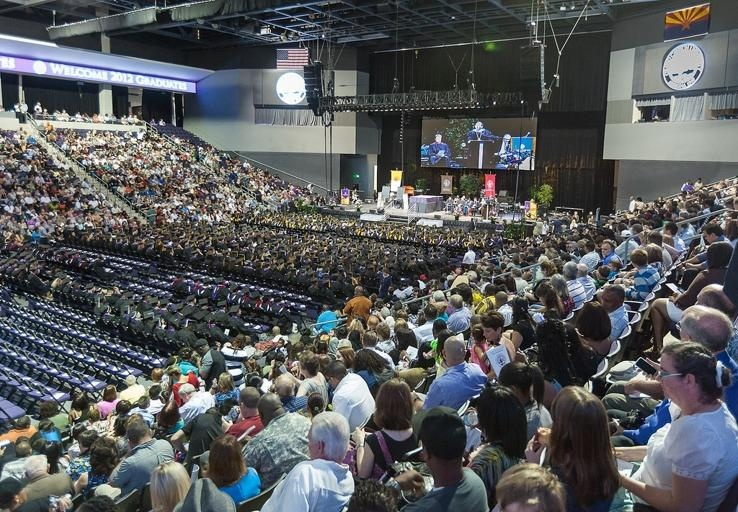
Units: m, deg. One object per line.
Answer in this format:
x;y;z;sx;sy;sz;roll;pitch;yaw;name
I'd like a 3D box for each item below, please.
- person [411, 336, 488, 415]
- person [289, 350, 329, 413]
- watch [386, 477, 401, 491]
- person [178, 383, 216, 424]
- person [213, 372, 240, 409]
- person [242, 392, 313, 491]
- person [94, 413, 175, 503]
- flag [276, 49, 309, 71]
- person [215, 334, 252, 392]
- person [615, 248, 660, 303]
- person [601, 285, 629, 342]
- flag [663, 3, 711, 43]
1.042;1.475;6.984;1.033;0.969;0.548;-13;16;-28;person
-0.821;1.741;7.821;0.358;0.870;0.437;-14;25;-29;person
0.230;2.249;5.601;0.108;0.105;0.115;-18;-27;3;watch
-2.591;2.228;8.538;0.361;0.752;0.298;4;13;11;person
-2.223;2.153;8.905;0.545;0.476;0.799;-8;-19;-19;person
-1.064;2.136;6.487;0.615;1.235;0.629;-5;23;-30;person
-2.871;2.513;7.012;0.594;1.121;0.510;25;4;39;person
-5.603;-14.282;40.911;1.354;1.517;3.562;-8;14;-34;flag
-2.540;2.232;10.631;0.449;1.522;0.461;8;8;2;person
4.459;0.346;9.514;0.482;0.911;0.516;-16;26;-21;person
3.520;0.806;8.275;0.405;0.711;0.788;3;14;23;person
13.690;-10.077;24.677;0.207;1.352;2.450;-3;11;-14;flag
